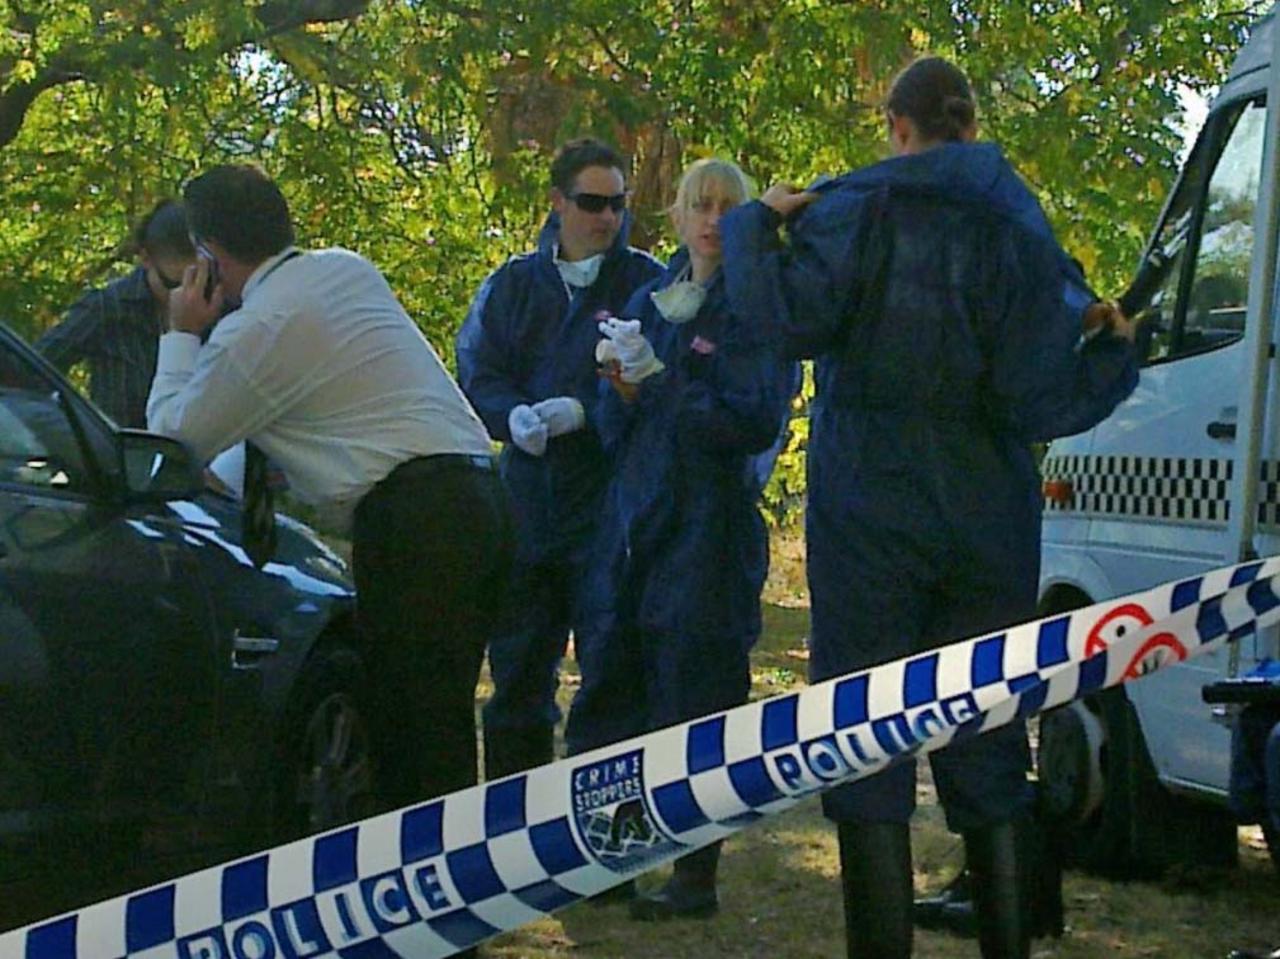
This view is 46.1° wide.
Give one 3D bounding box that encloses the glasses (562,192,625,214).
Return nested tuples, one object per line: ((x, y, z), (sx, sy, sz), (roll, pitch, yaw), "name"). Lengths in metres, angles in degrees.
((-0.088, -0.596, 3.249), (0.041, 0.045, 0.195), (-2, 0, 38), "glasses")

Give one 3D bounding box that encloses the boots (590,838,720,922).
((0.053, 1.032, 3.904), (0.264, 0.264, 0.162), (1, -4, -10), "boots")

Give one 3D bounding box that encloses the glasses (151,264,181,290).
((-0.932, -0.393, 2.947), (0.035, 0.029, 0.037), (7, 11, -1), "glasses")

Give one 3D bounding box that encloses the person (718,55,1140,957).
((0.613, 0.099, 3.195), (0.842, 1.873, 0.251), (-2, 0, -8), "person")

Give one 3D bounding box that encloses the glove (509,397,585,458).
((-0.213, -0.123, 3.459), (0.179, 0.131, 0.063), (-2, 0, -32), "glove")

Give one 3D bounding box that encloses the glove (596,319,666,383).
((-0.022, -0.291, 3.416), (0.152, 0.157, 0.096), (-2, 0, 3), "glove")
